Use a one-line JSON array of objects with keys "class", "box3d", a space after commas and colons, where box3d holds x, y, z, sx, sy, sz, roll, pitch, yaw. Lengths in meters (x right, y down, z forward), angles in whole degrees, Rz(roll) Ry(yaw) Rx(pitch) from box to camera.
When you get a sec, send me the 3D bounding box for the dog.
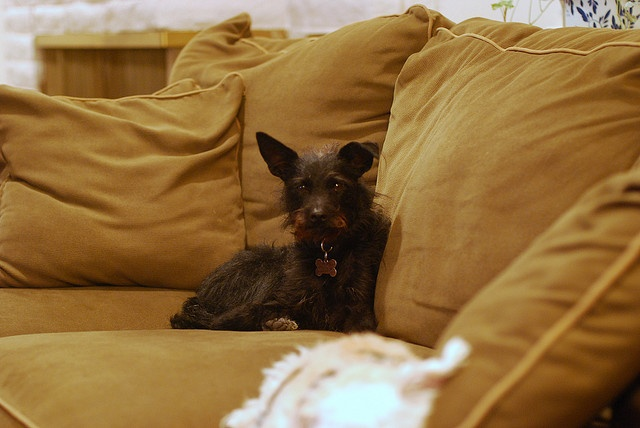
[{"class": "dog", "box3d": [-0.104, 0.110, 2.421, 0.978, 0.806, 0.565, -7, -1, 25]}]
